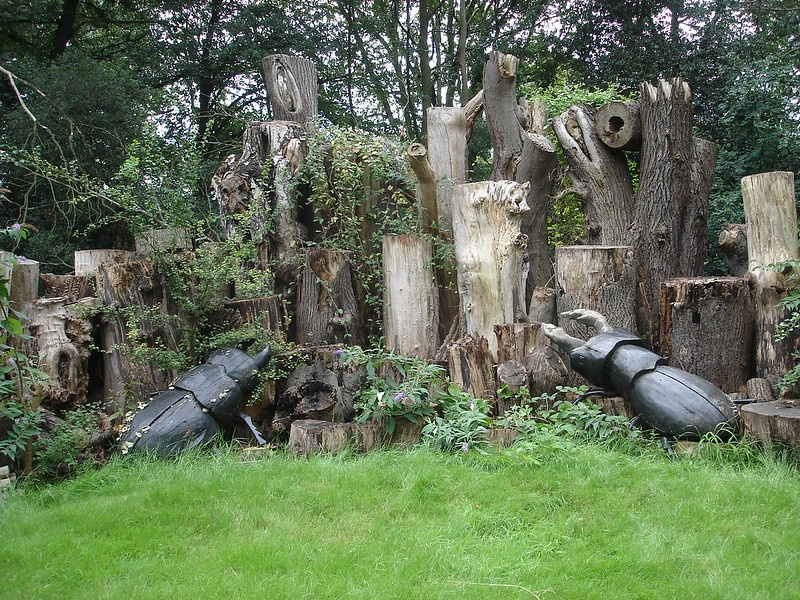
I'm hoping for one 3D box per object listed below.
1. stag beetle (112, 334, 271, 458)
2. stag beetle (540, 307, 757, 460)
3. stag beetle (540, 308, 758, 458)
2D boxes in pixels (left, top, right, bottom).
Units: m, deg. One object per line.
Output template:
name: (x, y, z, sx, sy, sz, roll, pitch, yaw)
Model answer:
stag beetle: (-2.002, 1.025, 6.938, 0.831, 0.380, 1.204, 30, 43, 22)
stag beetle: (2.333, 0.751, 6.784, 1.163, 0.470, 1.422, -29, 38, -29)
stag beetle: (2.300, 0.758, 6.823, 1.155, 0.468, 1.429, -29, 38, -29)
